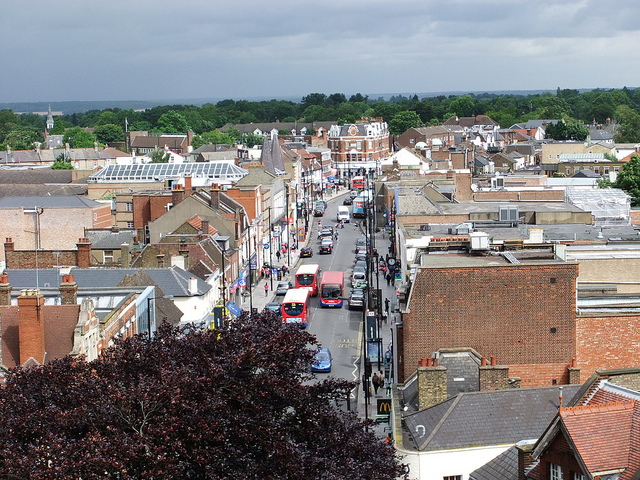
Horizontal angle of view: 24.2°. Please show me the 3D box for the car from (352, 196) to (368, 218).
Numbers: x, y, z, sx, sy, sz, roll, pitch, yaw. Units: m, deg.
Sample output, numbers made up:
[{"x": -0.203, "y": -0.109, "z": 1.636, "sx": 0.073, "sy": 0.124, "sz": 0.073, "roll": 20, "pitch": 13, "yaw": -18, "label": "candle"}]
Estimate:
[{"x": 5.415, "y": -4.158, "z": 193.039, "sx": 1.746, "sy": 1.540, "sz": 2.909, "roll": 1, "pitch": 9, "yaw": 6, "label": "car"}]

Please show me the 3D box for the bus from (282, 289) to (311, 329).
[{"x": -0.959, "y": 5.583, "z": 121.055, "sx": 2.321, "sy": 2.123, "sz": 7.295, "roll": -1, "pitch": 6, "yaw": 14, "label": "bus"}]

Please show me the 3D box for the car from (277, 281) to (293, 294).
[{"x": -2.956, "y": 4.256, "z": 131.650, "sx": 1.130, "sy": 0.764, "sz": 2.398, "roll": -1, "pitch": -1, "yaw": 3, "label": "car"}]

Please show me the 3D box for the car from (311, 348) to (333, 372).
[{"x": 0.255, "y": 8.511, "z": 105.114, "sx": 1.617, "sy": 1.146, "sz": 2.838, "roll": 0, "pitch": -2, "yaw": 4, "label": "car"}]

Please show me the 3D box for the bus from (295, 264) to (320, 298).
[{"x": -0.860, "y": 3.674, "z": 128.941, "sx": 2.444, "sy": 2.042, "sz": 7.140, "roll": -1, "pitch": 4, "yaw": 3, "label": "bus"}]

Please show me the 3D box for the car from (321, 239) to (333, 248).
[{"x": 0.994, "y": 0.436, "z": 158.378, "sx": 1.031, "sy": 0.691, "sz": 2.139, "roll": 0, "pitch": -2, "yaw": 0, "label": "car"}]

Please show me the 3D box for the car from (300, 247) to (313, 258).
[{"x": -1.203, "y": 1.360, "z": 155.857, "sx": 1.034, "sy": 0.686, "sz": 2.148, "roll": -1, "pitch": 1, "yaw": 4, "label": "car"}]

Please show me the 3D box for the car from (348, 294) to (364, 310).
[{"x": 3.293, "y": 5.335, "z": 125.864, "sx": 1.343, "sy": 1.146, "sz": 1.992, "roll": -5, "pitch": 6, "yaw": -7, "label": "car"}]

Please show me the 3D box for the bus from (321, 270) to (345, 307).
[{"x": 1.287, "y": 4.306, "z": 127.550, "sx": 2.205, "sy": 1.855, "sz": 6.480, "roll": 0, "pitch": 7, "yaw": 3, "label": "bus"}]

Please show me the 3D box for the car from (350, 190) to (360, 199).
[{"x": 5.664, "y": -6.905, "z": 227.429, "sx": 1.116, "sy": 0.827, "sz": 2.498, "roll": -1, "pitch": 5, "yaw": 5, "label": "car"}]

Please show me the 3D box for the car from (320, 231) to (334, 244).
[{"x": 0.989, "y": -0.170, "z": 164.012, "sx": 1.339, "sy": 0.890, "sz": 2.089, "roll": 0, "pitch": -4, "yaw": -3, "label": "car"}]

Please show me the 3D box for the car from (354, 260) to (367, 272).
[{"x": 4.120, "y": 2.511, "z": 141.310, "sx": 1.084, "sy": 0.807, "sz": 1.713, "roll": 0, "pitch": -4, "yaw": -3, "label": "car"}]
